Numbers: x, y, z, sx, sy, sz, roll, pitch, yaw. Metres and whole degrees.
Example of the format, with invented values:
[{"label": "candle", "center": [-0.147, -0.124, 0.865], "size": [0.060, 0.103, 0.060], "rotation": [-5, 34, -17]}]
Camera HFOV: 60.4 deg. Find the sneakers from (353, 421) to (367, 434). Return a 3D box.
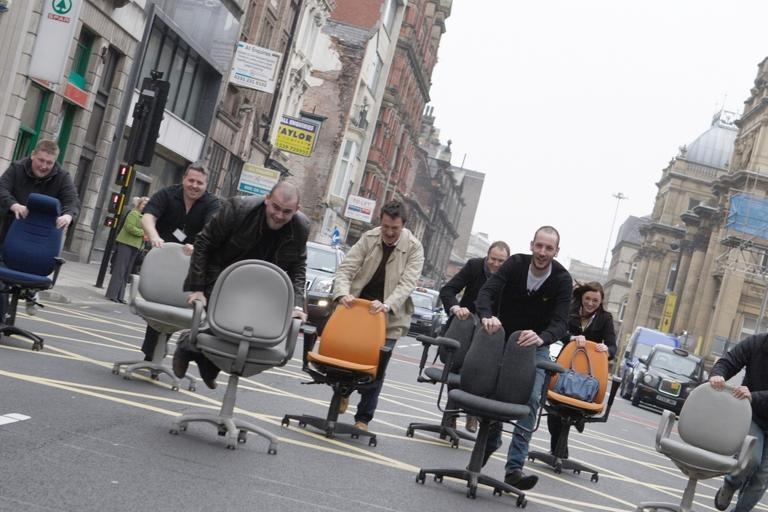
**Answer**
[{"label": "sneakers", "center": [-0.300, 2.230, 8.647], "size": [0.153, 0.055, 0.112], "rotation": [35, 7, 20]}]
